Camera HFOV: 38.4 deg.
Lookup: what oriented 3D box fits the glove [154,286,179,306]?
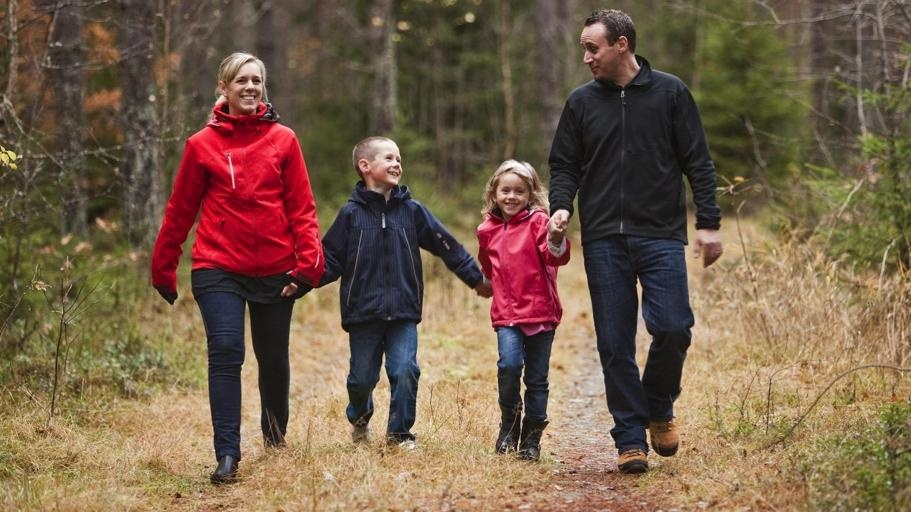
[{"bbox_3d":[-3.285,0.427,14.834,0.121,0.314,0.176,-45,25,-15],"label":"glove"}]

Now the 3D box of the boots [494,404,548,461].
[{"bbox_3d":[0.679,1.902,13.977,0.461,0.589,0.566,13,-7,-17],"label":"boots"}]

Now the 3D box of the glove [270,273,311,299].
[{"bbox_3d":[-1.739,0.303,13.841,0.325,0.184,0.249,16,-7,-16],"label":"glove"}]
